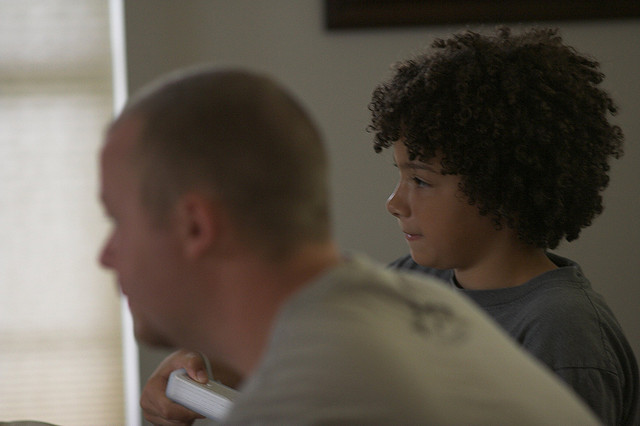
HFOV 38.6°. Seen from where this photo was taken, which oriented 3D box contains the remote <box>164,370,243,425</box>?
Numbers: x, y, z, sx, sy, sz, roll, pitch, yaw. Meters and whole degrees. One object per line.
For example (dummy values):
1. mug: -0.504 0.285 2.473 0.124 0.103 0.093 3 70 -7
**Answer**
1. remote: -0.064 0.102 0.511 0.033 0.033 0.009 5 70 54
